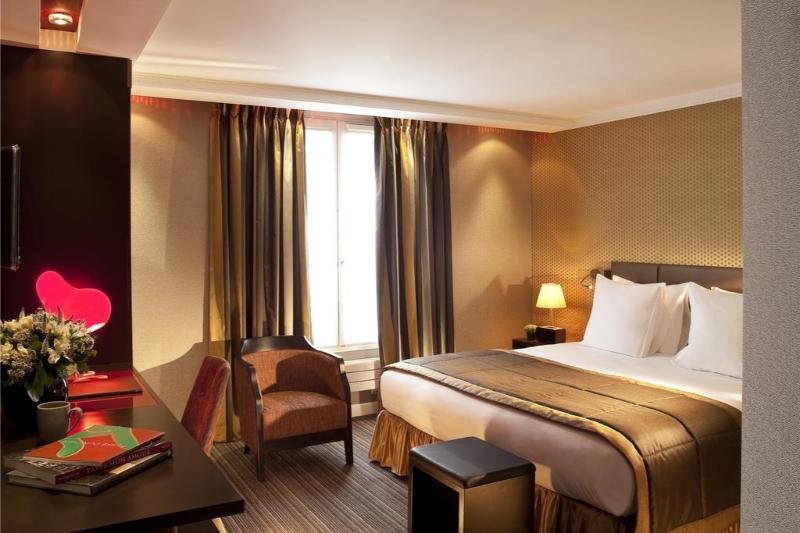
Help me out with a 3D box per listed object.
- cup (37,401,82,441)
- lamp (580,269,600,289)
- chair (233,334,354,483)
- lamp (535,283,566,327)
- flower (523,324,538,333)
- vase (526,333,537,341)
[{"bbox_3d":[-1.448,0.666,2.386,0.176,0.131,0.112,0,-15,-39],"label":"cup"},{"bbox_3d":[2.089,0.132,6.185,0.047,0.203,0.200,5,0,-15],"label":"lamp"},{"bbox_3d":[-0.924,1.177,5.041,1.039,1.203,1.045,1,-6,-27],"label":"chair"},{"bbox_3d":[1.708,0.441,6.376,0.328,0.614,0.324,5,24,26],"label":"lamp"},{"bbox_3d":[1.458,0.687,6.296,0.107,0.072,0.107,-2,-1,-1],"label":"flower"},{"bbox_3d":[1.455,0.779,6.243,0.073,0.062,0.082,1,-8,-1],"label":"vase"}]
